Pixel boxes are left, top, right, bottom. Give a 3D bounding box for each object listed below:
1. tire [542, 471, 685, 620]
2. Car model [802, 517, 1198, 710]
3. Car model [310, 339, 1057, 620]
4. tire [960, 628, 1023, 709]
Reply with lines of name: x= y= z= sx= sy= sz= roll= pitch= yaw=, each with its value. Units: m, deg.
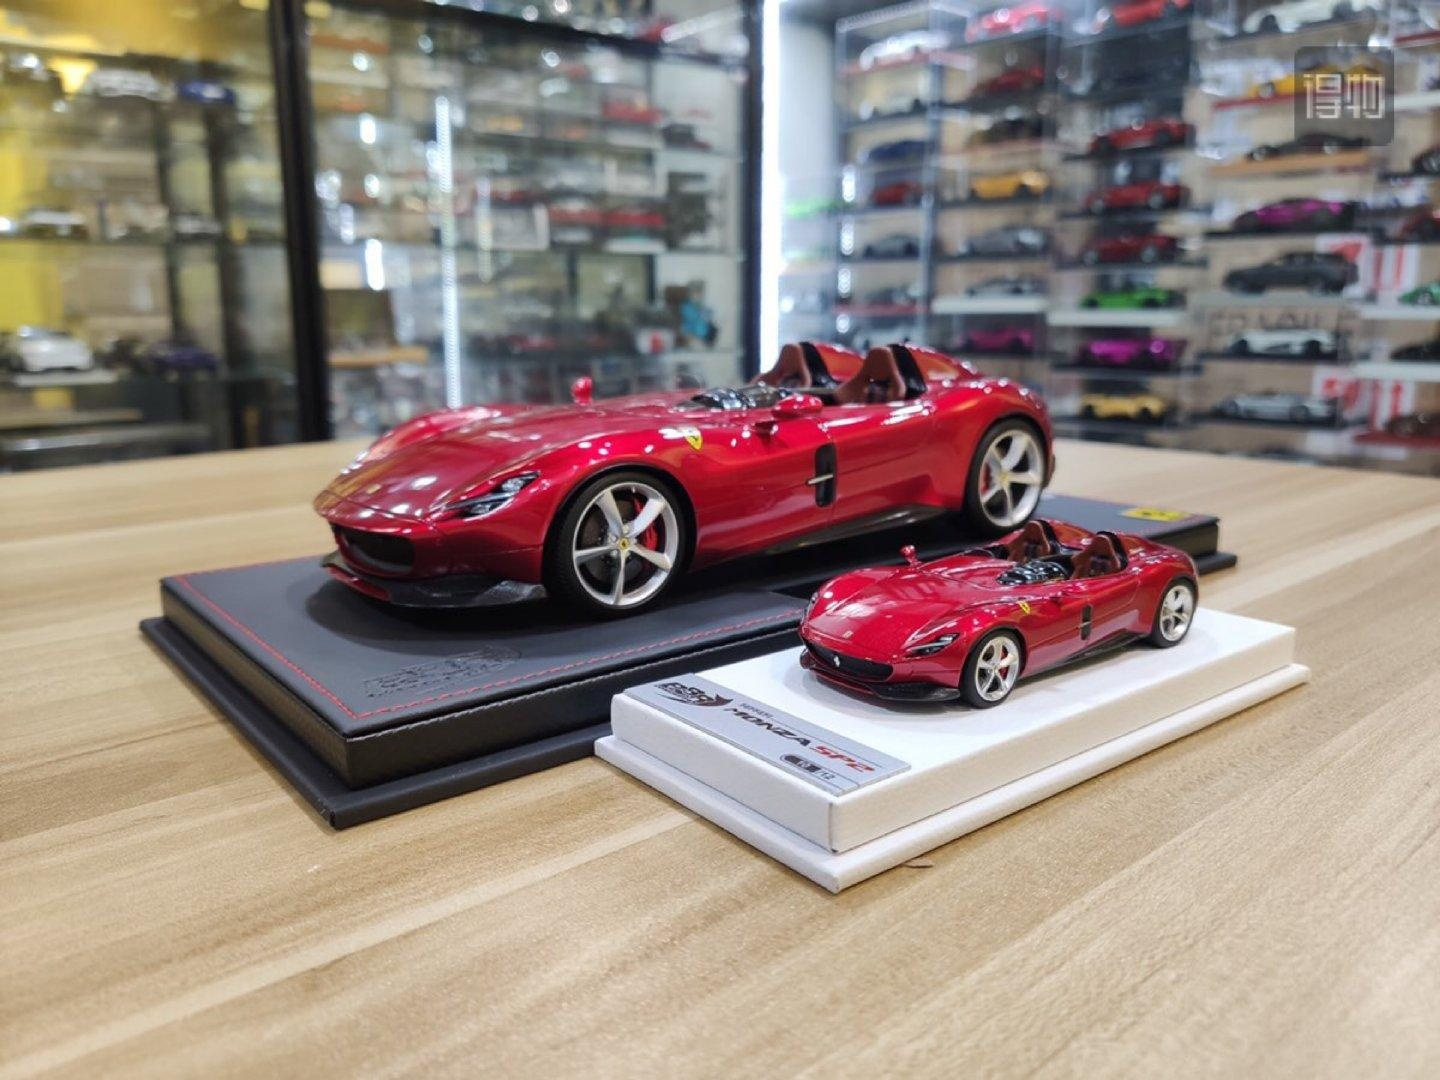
tire: x=-0.249 y=0.005 z=2.353 sx=0.384 sy=0.283 sz=0.130 roll=-12 pitch=15 yaw=-33
Car model: x=0.592 y=0.121 z=2.105 sx=0.818 sy=0.176 sz=0.366 roll=-8 pitch=13 yaw=-29
Car model: x=0.042 y=-0.199 z=2.715 sx=1.888 sy=0.363 sz=0.825 roll=-7 pitch=13 yaw=-29
tire: x=0.493 y=0.233 z=1.929 sx=0.170 sy=0.126 sz=0.052 roll=-14 pitch=23 yaw=-27
